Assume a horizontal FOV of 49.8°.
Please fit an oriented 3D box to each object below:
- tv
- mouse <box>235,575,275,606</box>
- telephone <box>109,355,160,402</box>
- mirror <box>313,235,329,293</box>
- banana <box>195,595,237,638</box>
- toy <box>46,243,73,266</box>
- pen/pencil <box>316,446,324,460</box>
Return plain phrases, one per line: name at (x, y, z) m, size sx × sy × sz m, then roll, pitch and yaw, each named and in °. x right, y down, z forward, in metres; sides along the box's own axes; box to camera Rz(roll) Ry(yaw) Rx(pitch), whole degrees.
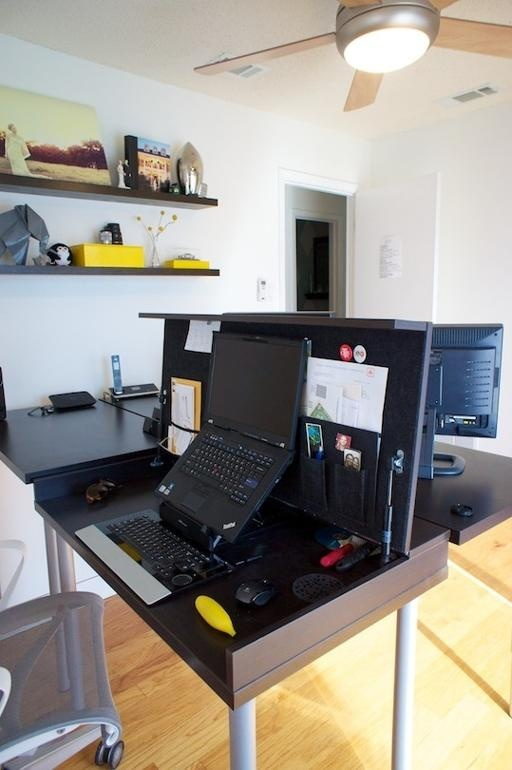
tv at (0.593, 0.034, 1.670) m, size 0.368 × 0.429 × 0.169 m, roll -9°, pitch 13°, yaw -43°
mouse at (0.001, 0.344, 0.916) m, size 0.077 × 0.031 × 0.046 m, roll -7°, pitch 12°, yaw -38°
telephone at (-0.647, -0.035, 2.865) m, size 0.195 × 0.190 × 0.111 m, roll -11°, pitch 16°, yaw -38°
mirror at (0.576, -1.064, 4.929) m, size 0.151 × 0.541 × 0.065 m, roll 4°, pitch 10°, yaw 24°
banana at (-0.063, 0.347, 0.855) m, size 0.027 × 0.030 × 0.082 m, roll -21°, pitch 24°, yaw -22°
toy at (-0.866, -0.573, 2.427) m, size 0.126 × 0.096 × 0.098 m, roll -7°, pitch 12°, yaw -36°
pen/pencil at (0.123, 0.134, 1.084) m, size 0.020 × 0.024 × 0.009 m, roll 9°, pitch 12°, yaw 41°
